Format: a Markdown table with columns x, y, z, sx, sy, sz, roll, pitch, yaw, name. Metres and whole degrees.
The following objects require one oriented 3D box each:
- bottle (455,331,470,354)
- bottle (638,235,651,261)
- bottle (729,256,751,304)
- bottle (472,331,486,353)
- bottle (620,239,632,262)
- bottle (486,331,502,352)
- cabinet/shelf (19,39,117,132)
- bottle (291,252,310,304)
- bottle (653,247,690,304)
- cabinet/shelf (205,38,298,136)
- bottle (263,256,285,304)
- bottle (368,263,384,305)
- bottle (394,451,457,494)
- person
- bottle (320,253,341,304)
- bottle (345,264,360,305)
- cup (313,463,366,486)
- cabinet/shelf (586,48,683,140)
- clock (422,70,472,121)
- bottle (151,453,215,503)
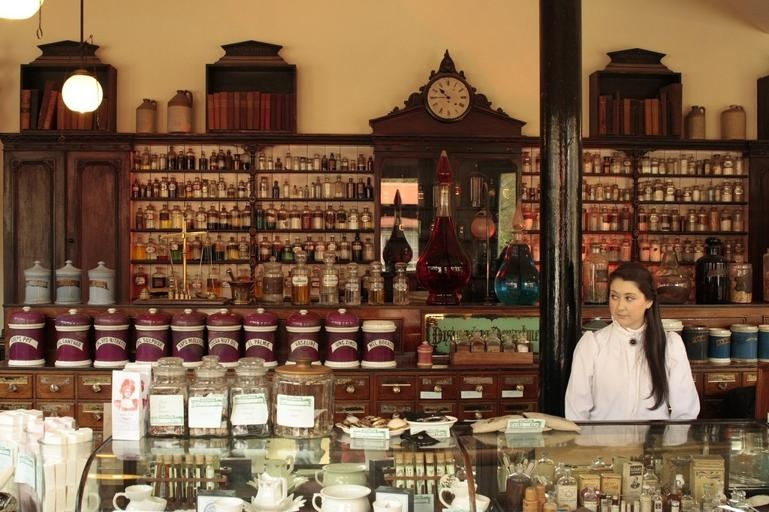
| x | y | z | sx | sy | sz | roll | pitch | yaw | name |
| --- | --- | --- | --- | --- | --- | --- | --- | --- | --- |
| 0.655 | 0.728 | 9.452 | 0.153 | 0.245 | 0.149 | 0 | -1 | 0 | bottle |
| 2.750 | -0.082 | 11.912 | 0.171 | 0.275 | 0.092 | 0 | -6 | -22 | bottle |
| 3.113 | 0.235 | 9.876 | 0.184 | 0.369 | 0.199 | -2 | -5 | 0 | bottle |
| 0.786 | 0.719 | 9.460 | 0.127 | 0.177 | 0.054 | -2 | -6 | 2 | bottle |
| 2.537 | -0.069 | 11.889 | 0.132 | 0.233 | 0.056 | -3 | -6 | 10 | bottle |
| 0.903 | 0.711 | 9.446 | 0.153 | 0.181 | 0.148 | 1 | -6 | -15 | bottle |
| -3.215 | -1.691 | 11.415 | 1.155 | 1.102 | 0.356 | 0 | -4 | -3 | cabinet/shelf |
| -0.720 | 0.180 | 9.665 | 0.154 | 0.473 | 0.218 | -1 | -5 | -5 | bottle |
| 2.475 | 0.186 | 9.813 | 0.365 | 0.451 | 0.359 | -3 | 6 | 0 | bottle |
| -1.495 | -1.785 | 11.841 | 1.101 | 0.940 | 0.350 | -6 | 16 | -38 | cabinet/shelf |
| -0.955 | 0.217 | 9.675 | 0.173 | 0.386 | 0.185 | -2 | -5 | 0 | bottle |
| -0.102 | 0.234 | 9.672 | 0.176 | 0.388 | 0.166 | 2 | 2 | 0 | bottle |
| 0.275 | 1.459 | 7.588 | 0.405 | 0.283 | 0.077 | -1 | -6 | -1 | bottle |
| 1.809 | 0.635 | 8.383 | 0.953 | 1.145 | 0.242 | -3 | -6 | 11 | person |
| -0.475 | 0.200 | 9.648 | 0.140 | 0.458 | 0.187 | -3 | -6 | 12 | bottle |
| -0.279 | 0.243 | 9.667 | 0.124 | 0.374 | 0.173 | -1 | -5 | -7 | bottle |
| -0.279 | 1.467 | 7.613 | 0.237 | 0.100 | 0.174 | -2 | -1 | 6 | cup |
| 2.654 | -1.735 | 11.905 | 1.039 | 0.878 | 0.343 | -2 | 11 | -13 | cabinet/shelf |
| 0.641 | -1.635 | 11.596 | 0.622 | 0.580 | 0.120 | 2 | -5 | 0 | clock |
| -1.336 | 1.496 | 7.572 | 0.433 | 0.320 | 0.124 | -1 | -6 | -10 | bottle |
